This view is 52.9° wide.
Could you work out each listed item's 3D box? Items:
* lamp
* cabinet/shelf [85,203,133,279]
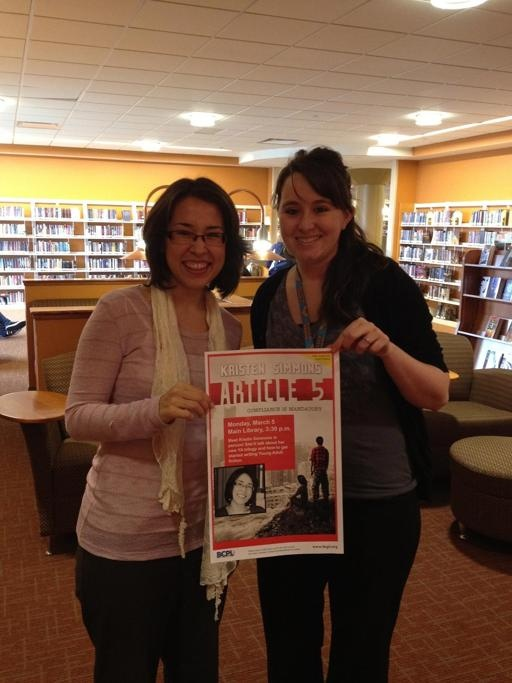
[{"bbox_3d":[-0.547,-1.340,6.066,1.701,0.914,0.563,-9,17,-32],"label":"lamp"},{"bbox_3d":[-3.716,-2.620,12.693,1.076,1.740,0.588,-1,37,-20],"label":"cabinet/shelf"}]
